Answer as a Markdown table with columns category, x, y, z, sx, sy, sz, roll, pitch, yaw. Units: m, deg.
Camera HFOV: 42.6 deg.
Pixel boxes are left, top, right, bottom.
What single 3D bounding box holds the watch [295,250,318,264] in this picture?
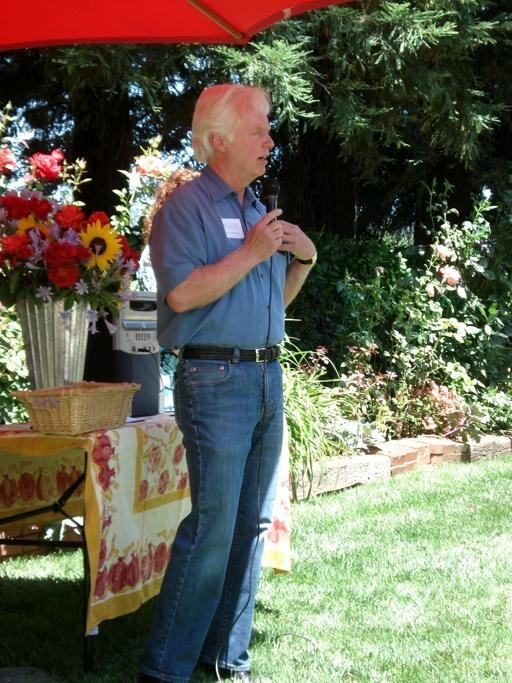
| category | x | y | z | sx | sy | sz | roll | pitch | yaw |
| --- | --- | --- | --- | --- | --- | --- | --- | --- | --- |
| watch | 0.154 | -0.249 | 1.977 | 0.059 | 0.021 | 0.057 | -5 | -1 | -12 |

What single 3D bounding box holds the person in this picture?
| category | x | y | z | sx | sy | sz | roll | pitch | yaw |
| --- | --- | --- | --- | --- | --- | --- | --- | --- | --- |
| person | -0.075 | 0.129 | 1.782 | 0.396 | 1.543 | 0.466 | -3 | 0 | 23 |

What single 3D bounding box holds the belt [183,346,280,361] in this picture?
| category | x | y | z | sx | sy | sz | roll | pitch | yaw |
| --- | --- | --- | --- | --- | --- | --- | --- | --- | --- |
| belt | -0.042 | 0.033 | 1.748 | 0.303 | 0.046 | 0.090 | -2 | 0 | -36 |

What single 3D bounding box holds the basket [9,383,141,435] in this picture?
| category | x | y | z | sx | sy | sz | roll | pitch | yaw |
| --- | --- | --- | --- | --- | --- | --- | --- | --- | --- |
| basket | -0.486 | 0.183 | 1.883 | 0.173 | 0.092 | 0.227 | 0 | 4 | 30 |
